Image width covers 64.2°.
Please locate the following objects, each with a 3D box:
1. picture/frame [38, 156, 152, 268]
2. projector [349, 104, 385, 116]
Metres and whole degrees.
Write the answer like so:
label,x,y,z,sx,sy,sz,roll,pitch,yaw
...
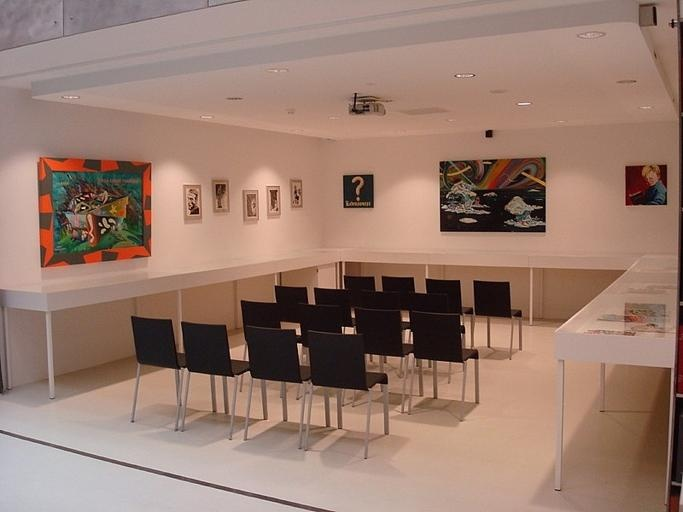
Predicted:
label,x,y,z,sx,sy,sz,roll,pitch,yaw
picture/frame,-3.023,-0.528,6.535,0.090,1.140,1.371,6,8,35
projector,0.304,-1.621,6.093,0.290,0.106,0.181,3,8,15
